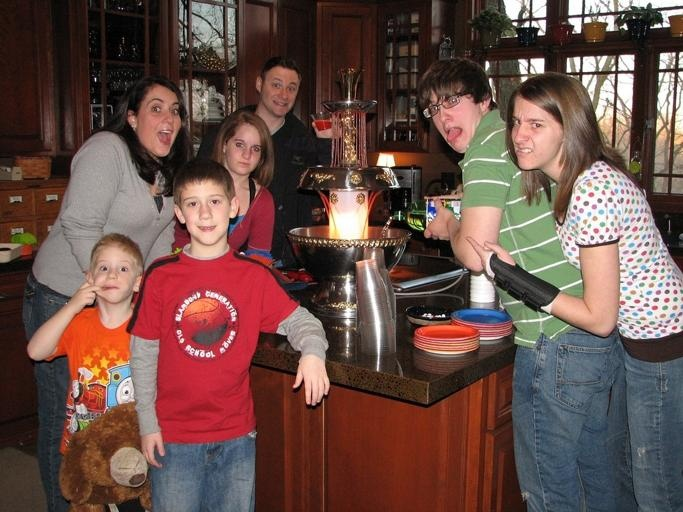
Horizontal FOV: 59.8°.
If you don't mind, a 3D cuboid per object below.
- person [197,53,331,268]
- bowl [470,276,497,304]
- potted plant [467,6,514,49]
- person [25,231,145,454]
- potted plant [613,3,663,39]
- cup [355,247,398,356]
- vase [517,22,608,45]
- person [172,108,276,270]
[{"bbox_3d":[-0.476,-0.290,3.711,0.818,1.817,0.633,0,4,-13],"label":"person"},{"bbox_3d":[0.545,0.128,2.323,0.100,0.110,0.103,0,1,0],"label":"bowl"},{"bbox_3d":[1.220,-1.868,4.891,0.329,0.307,0.340,0,3,-1],"label":"potted plant"},{"bbox_3d":[-0.837,0.470,2.102,0.436,1.018,0.263,4,8,-16],"label":"person"},{"bbox_3d":[2.185,-1.711,4.360,0.275,0.198,0.283,2,5,25],"label":"potted plant"},{"bbox_3d":[0.111,0.147,1.908,0.121,0.327,0.113,-1,10,0],"label":"cup"},{"bbox_3d":[1.734,-1.759,4.733,0.670,0.205,0.174,5,12,30],"label":"vase"},{"bbox_3d":[-0.497,-0.242,2.682,0.471,0.745,0.447,4,14,-29],"label":"person"}]
